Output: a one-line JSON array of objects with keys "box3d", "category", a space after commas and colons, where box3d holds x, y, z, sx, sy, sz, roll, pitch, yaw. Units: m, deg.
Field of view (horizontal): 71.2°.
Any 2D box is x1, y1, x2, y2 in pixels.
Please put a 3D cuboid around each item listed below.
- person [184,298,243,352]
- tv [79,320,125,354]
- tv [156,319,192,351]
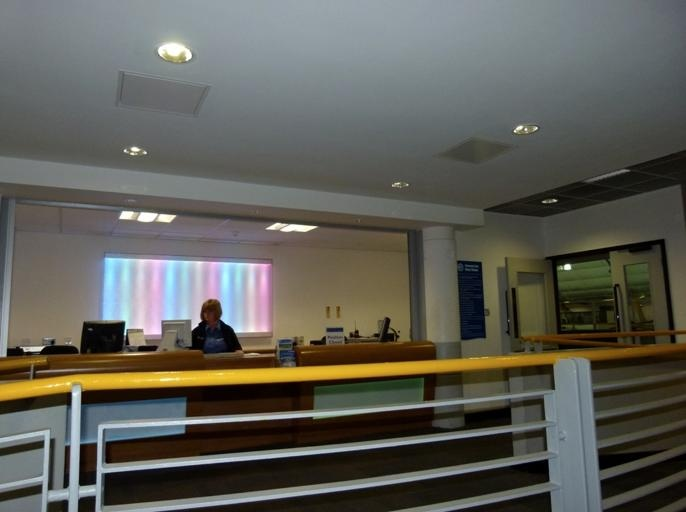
[{"box3d": [-1.636, 0.966, 6.274, 0.911, 0.693, 0.406, 1, -5, 11], "category": "person"}, {"box3d": [-3.010, 0.994, 6.192, 0.700, 0.523, 0.522, 3, -8, -25], "category": "tv"}, {"box3d": [-2.111, 0.990, 6.014, 0.388, 0.356, 0.318, 1, -5, -5], "category": "tv"}]
